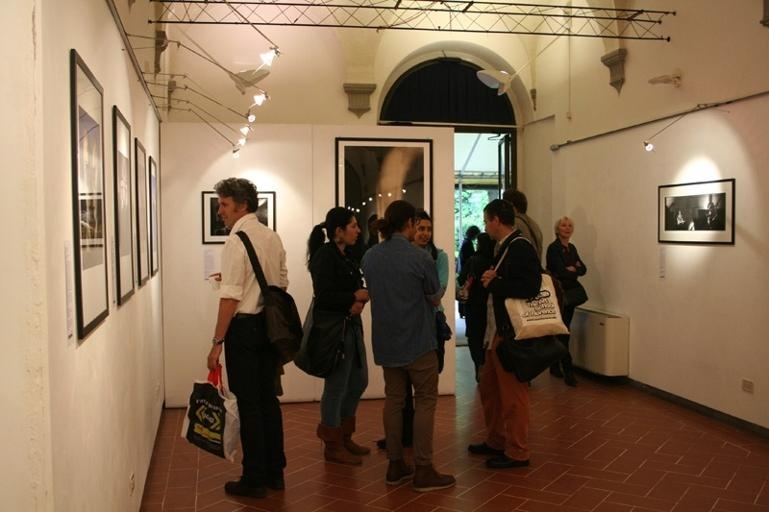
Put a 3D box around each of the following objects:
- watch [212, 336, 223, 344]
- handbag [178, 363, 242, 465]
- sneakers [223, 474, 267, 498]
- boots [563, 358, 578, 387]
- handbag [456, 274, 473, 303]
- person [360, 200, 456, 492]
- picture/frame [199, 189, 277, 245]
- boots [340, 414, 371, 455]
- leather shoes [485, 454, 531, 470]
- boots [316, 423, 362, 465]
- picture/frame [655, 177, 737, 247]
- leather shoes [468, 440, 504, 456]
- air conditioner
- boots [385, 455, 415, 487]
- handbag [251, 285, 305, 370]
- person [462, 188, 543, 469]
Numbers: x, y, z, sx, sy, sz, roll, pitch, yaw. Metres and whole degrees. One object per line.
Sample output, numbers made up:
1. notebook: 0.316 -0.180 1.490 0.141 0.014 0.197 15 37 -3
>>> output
1. watch: -1.309 0.678 4.608 0.057 0.063 0.059 1 -22 -29
2. handbag: -1.317 1.204 4.575 0.499 0.710 0.269 15 17 22
3. sneakers: -1.121 1.902 4.839 0.386 0.179 0.144 3 0 19
4. boots: 2.425 1.506 7.633 0.173 0.350 0.207 1 4 17
5. handbag: 0.740 0.309 5.479 0.063 0.213 0.152 22 23 -2
6. person: 0.194 0.739 4.826 0.713 2.367 0.314 0 4 4
7. picture/frame: -1.447 -0.367 5.588 0.604 0.493 0.025 0 5 0
8. boots: -0.307 1.704 5.520 0.333 0.347 0.156 -1 -7 12
9. leather shoes: 1.100 1.810 5.214 0.367 0.155 0.140 5 -6 -5
10. boots: -0.399 1.729 5.359 0.453 0.367 0.172 -1 -1 23
11. picture/frame: 3.550 -0.490 6.593 0.028 0.597 0.796 1 -1 -22
12. leather shoes: 0.957 1.822 5.497 0.327 0.150 0.125 5 -3 4
13. air conditioner: 2.866 1.143 8.164 0.405 0.839 1.142 -3 5 -28
14. boots: 0.154 1.814 4.976 0.129 0.241 0.315 2 6 29
15. handbag: -0.829 0.588 4.788 0.323 0.699 0.276 -1 4 -9
16. person: 1.047 0.698 5.157 0.426 2.372 0.679 -3 5 -36
